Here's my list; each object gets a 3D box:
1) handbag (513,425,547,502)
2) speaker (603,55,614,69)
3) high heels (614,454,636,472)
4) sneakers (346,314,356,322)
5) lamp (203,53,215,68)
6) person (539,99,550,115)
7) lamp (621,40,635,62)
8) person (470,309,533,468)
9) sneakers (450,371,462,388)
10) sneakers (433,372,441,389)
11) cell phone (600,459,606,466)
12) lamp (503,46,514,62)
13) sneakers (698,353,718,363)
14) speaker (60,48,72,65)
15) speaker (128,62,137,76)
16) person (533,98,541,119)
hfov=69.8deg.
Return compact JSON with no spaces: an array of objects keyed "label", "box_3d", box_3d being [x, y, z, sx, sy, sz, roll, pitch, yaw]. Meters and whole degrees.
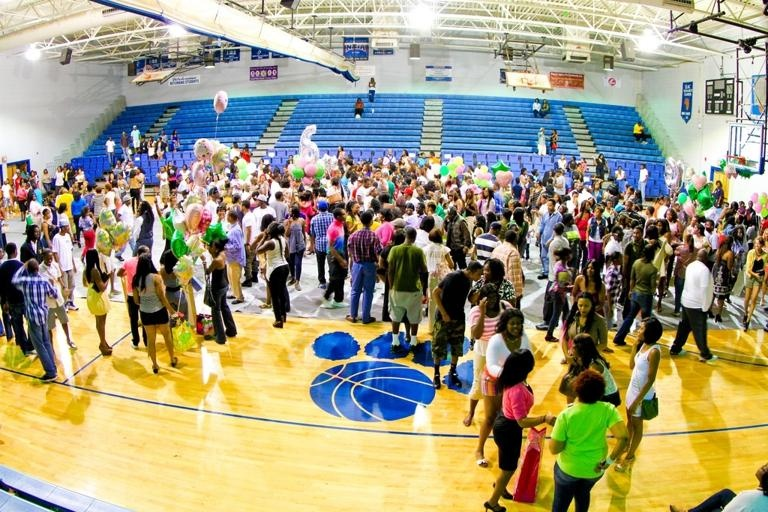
[{"label":"handbag","box_3d":[1.699,2.459,6.475,0.268,0.838,0.842,9,17,16]},{"label":"speaker","box_3d":[9.706,-8.392,23.865,0.350,0.670,0.774,3,5,26]},{"label":"high heels","box_3d":[2.985,2.637,6.989,0.357,0.170,0.123,0,6,-2]},{"label":"sneakers","box_3d":[-0.605,1.092,9.824,0.078,0.091,0.212,-2,18,-30]},{"label":"lamp","box_3d":[-7.964,-8.929,24.974,0.375,0.810,0.964,-1,5,-21]},{"label":"person","box_3d":[7.280,-6.740,24.909,0.469,0.834,1.044,2,5,16]},{"label":"lamp","box_3d":[9.377,-7.942,21.290,0.481,0.774,0.741,3,5,20]},{"label":"person","box_3d":[1.461,1.635,6.708,0.686,2.110,0.790,-9,19,-31]},{"label":"sneakers","box_3d":[1.060,1.817,8.236,0.181,0.225,0.163,1,4,4]},{"label":"sneakers","box_3d":[0.777,1.826,8.165,0.103,0.247,0.144,1,5,6]},{"label":"cell phone","box_3d":[2.325,2.197,5.870,0.040,0.076,0.027,33,0,-12]},{"label":"lamp","box_3d":[5.614,-9.129,24.917,0.481,0.761,1.088,2,5,12]},{"label":"sneakers","box_3d":[5.228,1.619,8.933,0.297,0.120,0.217,-13,-16,19]},{"label":"speaker","box_3d":[-13.861,-8.704,23.898,0.412,0.559,1.082,-2,5,-33]},{"label":"speaker","box_3d":[-12.817,-9.493,27.869,0.349,0.687,0.856,-1,5,-24]},{"label":"person","box_3d":[6.861,-6.673,24.760,0.397,0.897,0.971,2,5,14]}]
